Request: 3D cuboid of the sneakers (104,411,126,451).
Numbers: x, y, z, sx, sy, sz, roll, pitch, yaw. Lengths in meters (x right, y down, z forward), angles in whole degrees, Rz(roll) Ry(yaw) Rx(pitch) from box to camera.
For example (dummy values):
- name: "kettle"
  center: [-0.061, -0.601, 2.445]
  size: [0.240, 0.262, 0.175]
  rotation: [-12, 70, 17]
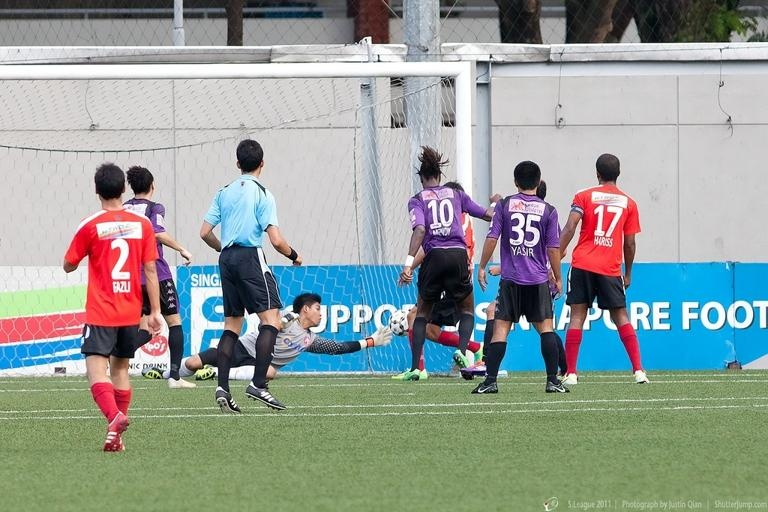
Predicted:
- name: "sneakers"
  center: [-2.441, 1.607, 11.264]
  size: [0.147, 0.432, 0.204]
  rotation: [8, 24, -26]

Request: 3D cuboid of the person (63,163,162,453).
- name: "person"
  center: [-2.509, 0.444, 11.544]
  size: [0.726, 2.621, 0.711]
  rotation: [2, 5, 38]

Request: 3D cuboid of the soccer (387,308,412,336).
- name: "soccer"
  center: [0.198, 0.812, 15.058]
  size: [0.239, 0.296, 0.267]
  rotation: [-4, -5, -37]

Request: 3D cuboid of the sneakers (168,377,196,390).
- name: "sneakers"
  center: [-2.345, 1.485, 14.322]
  size: [0.335, 0.150, 0.127]
  rotation: [0, 2, -18]

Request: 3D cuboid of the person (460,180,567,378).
- name: "person"
  center: [1.494, 0.372, 14.187]
  size: [1.353, 0.691, 2.350]
  rotation: [12, 44, 6]

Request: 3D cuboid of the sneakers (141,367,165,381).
- name: "sneakers"
  center: [-2.760, 1.430, 14.999]
  size: [0.364, 0.152, 0.165]
  rotation: [4, -35, -40]

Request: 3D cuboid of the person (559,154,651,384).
- name: "person"
  center: [2.469, 0.162, 13.894]
  size: [0.911, 2.607, 0.472]
  rotation: [-1, 4, 7]

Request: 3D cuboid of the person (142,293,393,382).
- name: "person"
  center: [-1.275, 0.986, 14.539]
  size: [2.628, 1.356, 0.680]
  rotation: [3, 33, -2]

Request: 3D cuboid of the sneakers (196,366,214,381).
- name: "sneakers"
  center: [-2.134, 1.397, 14.733]
  size: [0.228, 0.172, 0.125]
  rotation: [-16, 28, -6]

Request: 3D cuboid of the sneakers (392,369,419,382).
- name: "sneakers"
  center: [0.244, 1.373, 14.275]
  size: [0.355, 0.162, 0.150]
  rotation: [0, -5, 7]

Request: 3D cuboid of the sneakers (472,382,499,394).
- name: "sneakers"
  center: [1.128, 1.445, 13.524]
  size: [0.307, 0.149, 0.116]
  rotation: [1, -1, 2]

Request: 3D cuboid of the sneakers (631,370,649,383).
- name: "sneakers"
  center: [2.976, 1.385, 14.178]
  size: [0.099, 0.132, 0.269]
  rotation: [-3, -13, 9]

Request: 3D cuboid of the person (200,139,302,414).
- name: "person"
  center: [-1.361, 0.196, 12.629]
  size: [0.863, 2.765, 0.634]
  rotation: [-2, 4, -10]

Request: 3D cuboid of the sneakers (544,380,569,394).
- name: "sneakers"
  center: [1.907, 1.441, 13.547]
  size: [0.307, 0.155, 0.111]
  rotation: [1, -1, -27]

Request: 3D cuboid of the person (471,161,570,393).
- name: "person"
  center: [1.513, 0.245, 13.357]
  size: [0.937, 2.526, 0.409]
  rotation: [-1, 4, 8]
